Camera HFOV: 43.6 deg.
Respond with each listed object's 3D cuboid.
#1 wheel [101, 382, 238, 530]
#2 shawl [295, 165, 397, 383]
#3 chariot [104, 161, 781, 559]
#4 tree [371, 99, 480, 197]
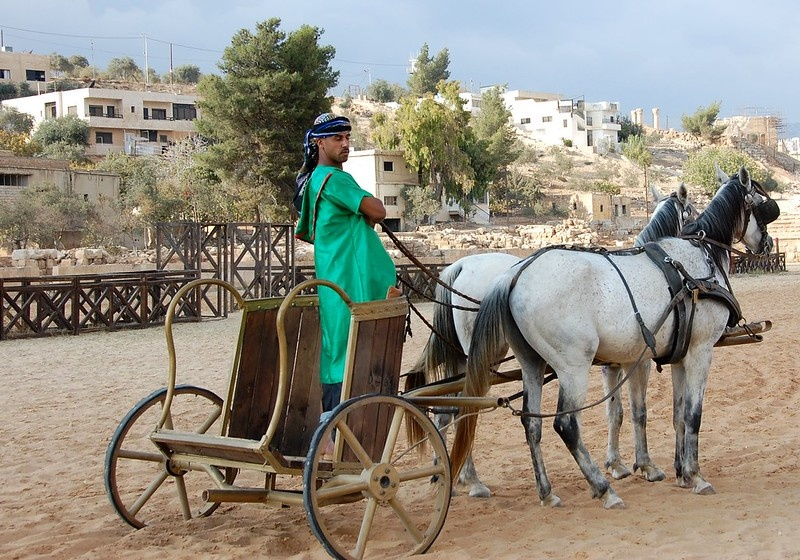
[{"bbox_3d":[-2.784,2.202,12.364,1.709,2.063,0.371,-21,30,-31],"label":"wheel"},{"bbox_3d":[-0.591,-0.036,12.162,0.938,2.938,1.091,1,-20,-21],"label":"shawl"},{"bbox_3d":[0.760,1.057,12.982,7.849,4.595,3.916,-2,2,-43],"label":"chariot"},{"bbox_3d":[1.907,-8.295,59.193,5.366,6.732,5.610,0,-13,-14],"label":"tree"}]
